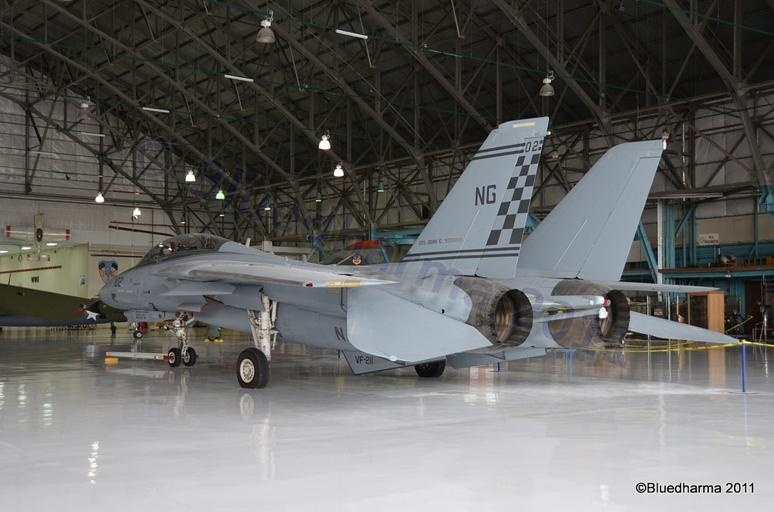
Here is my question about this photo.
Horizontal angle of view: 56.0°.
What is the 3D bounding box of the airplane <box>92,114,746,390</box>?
[{"bbox_3d":[-0.135,0.178,16.757,14.565,5.850,6.044,2,-5,0],"label":"airplane"}]
